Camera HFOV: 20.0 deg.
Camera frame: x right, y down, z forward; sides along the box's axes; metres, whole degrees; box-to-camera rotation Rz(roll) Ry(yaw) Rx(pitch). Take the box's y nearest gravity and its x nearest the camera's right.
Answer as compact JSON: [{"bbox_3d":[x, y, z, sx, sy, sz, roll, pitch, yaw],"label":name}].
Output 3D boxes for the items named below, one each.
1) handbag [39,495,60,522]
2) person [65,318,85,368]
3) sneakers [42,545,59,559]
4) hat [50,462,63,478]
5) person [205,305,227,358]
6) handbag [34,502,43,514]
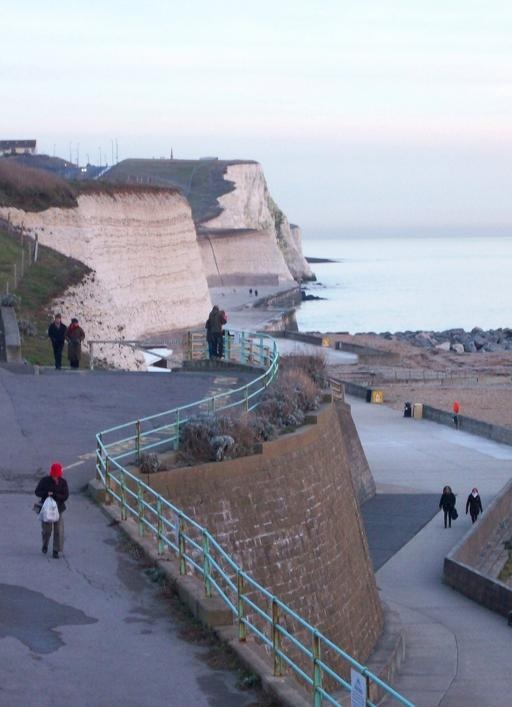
[{"bbox_3d":[-2.307,1.740,16.220,0.221,0.283,0.232,-3,6,-12],"label":"handbag"},{"bbox_3d":[-3.652,-0.347,29.329,0.350,1.112,0.319,4,37,-3],"label":"person"},{"bbox_3d":[-2.301,2.203,16.278,0.172,0.228,0.103,2,-2,45],"label":"sneakers"},{"bbox_3d":[-2.278,1.315,16.537,0.127,0.148,0.212,1,12,-7],"label":"hat"},{"bbox_3d":[-0.844,-0.513,30.631,0.408,1.114,1.623,-2,7,-2],"label":"person"},{"bbox_3d":[-2.430,1.716,16.285,0.030,0.153,0.125,7,-5,-29],"label":"handbag"}]
